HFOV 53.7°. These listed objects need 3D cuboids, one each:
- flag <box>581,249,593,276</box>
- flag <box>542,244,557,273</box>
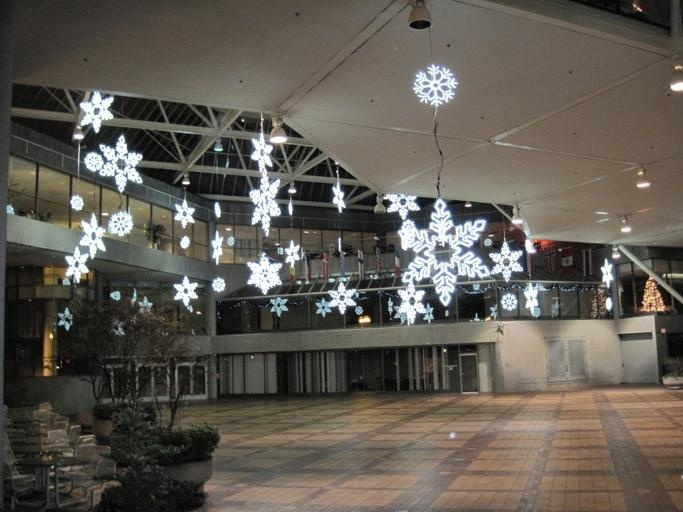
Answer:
[{"bbox_3d":[15.089,0.370,41.488,0.605,1.689,0.383,-6,-13,27],"label":"flag"},{"bbox_3d":[12.750,0.015,41.151,0.778,2.245,3.248,-4,-12,18],"label":"flag"}]
